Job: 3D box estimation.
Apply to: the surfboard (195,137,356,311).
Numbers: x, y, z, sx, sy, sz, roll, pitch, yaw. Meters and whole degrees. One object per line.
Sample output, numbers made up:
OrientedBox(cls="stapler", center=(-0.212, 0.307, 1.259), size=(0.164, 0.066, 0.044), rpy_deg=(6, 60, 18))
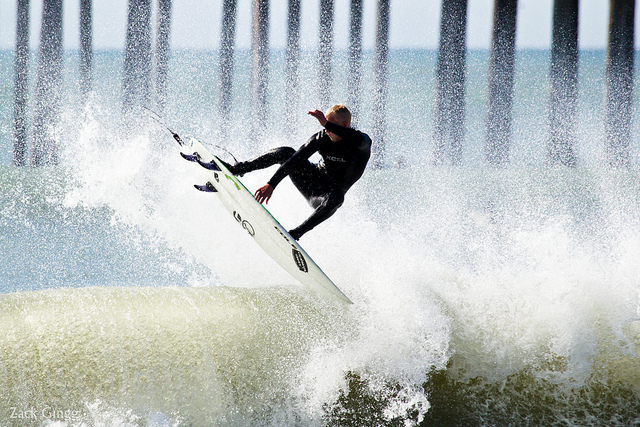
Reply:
OrientedBox(cls="surfboard", center=(-0.592, 0.240, 14.768), size=(3.146, 0.360, 0.525), rpy_deg=(44, -45, -3))

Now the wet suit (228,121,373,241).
OrientedBox(cls="wet suit", center=(-0.268, -0.417, 14.947), size=(1.185, 1.307, 0.791), rpy_deg=(44, -2, 21))

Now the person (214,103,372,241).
OrientedBox(cls="person", center=(-0.393, -0.564, 15.142), size=(1.584, 1.305, 0.999), rpy_deg=(37, 2, 23))
